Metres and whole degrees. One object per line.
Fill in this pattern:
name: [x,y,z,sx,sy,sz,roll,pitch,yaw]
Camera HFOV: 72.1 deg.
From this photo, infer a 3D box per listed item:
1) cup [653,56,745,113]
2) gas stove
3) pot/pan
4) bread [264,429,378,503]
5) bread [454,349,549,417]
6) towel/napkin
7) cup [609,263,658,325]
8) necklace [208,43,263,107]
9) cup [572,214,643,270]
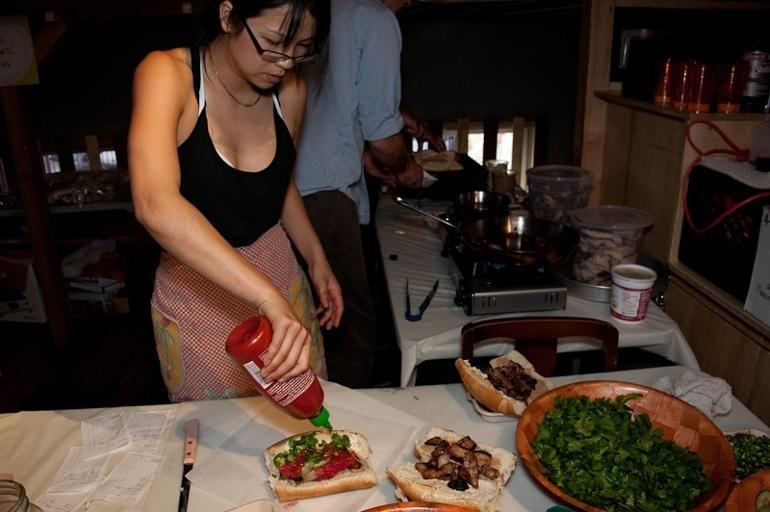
cup: [1.472,-0.804,2.509,0.409,0.231,0.277,13,26,36]
gas stove: [0.544,0.007,2.426,0.462,0.286,0.711,-1,22,3]
pot/pan: [0.479,-0.182,2.347,0.640,0.090,0.381,11,34,9]
bread: [-0.189,0.573,1.448,0.249,0.087,0.164,-4,41,-10]
bread: [0.360,0.375,1.651,0.201,0.086,0.197,-6,32,-30]
towel/napkin: [0.979,0.412,1.660,0.159,0.047,0.161,11,20,34]
cup: [0.979,0.155,2.136,0.194,0.202,0.191,-1,17,0]
necklace: [-0.466,-0.542,1.613,0.031,0.171,0.112,-19,19,42]
cup: [0.996,-0.080,2.350,0.291,0.206,0.346,6,22,22]
